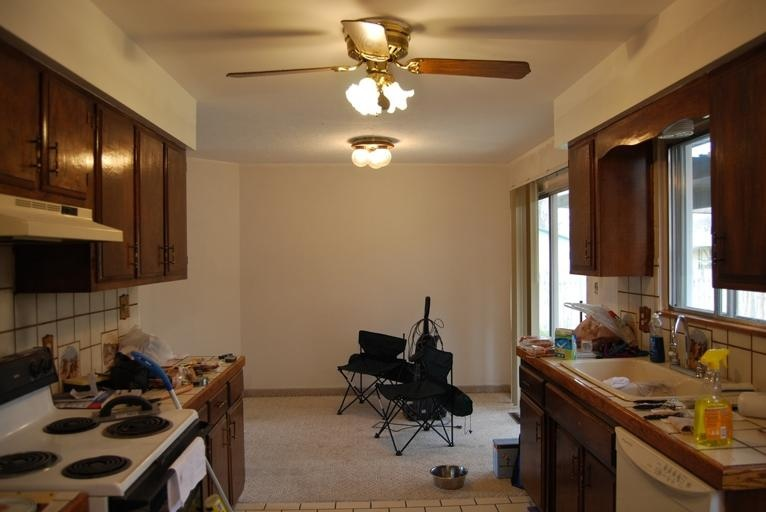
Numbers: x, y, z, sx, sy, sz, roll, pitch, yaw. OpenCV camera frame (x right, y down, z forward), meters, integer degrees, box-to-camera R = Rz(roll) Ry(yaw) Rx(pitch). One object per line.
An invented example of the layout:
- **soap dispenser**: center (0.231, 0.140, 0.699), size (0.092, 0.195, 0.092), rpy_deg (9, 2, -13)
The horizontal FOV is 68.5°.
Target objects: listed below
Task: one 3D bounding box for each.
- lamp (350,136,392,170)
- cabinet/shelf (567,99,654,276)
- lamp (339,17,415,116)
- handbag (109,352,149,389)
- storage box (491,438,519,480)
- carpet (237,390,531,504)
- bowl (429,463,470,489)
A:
- **lamp**: center (-0.105, -0.951, 5.383), size (0.400, 0.221, 0.408), rpy_deg (1, -8, 8)
- **cabinet/shelf**: center (1.641, -0.392, 4.034), size (0.425, 1.059, 0.632), rpy_deg (-3, 7, -17)
- **lamp**: center (-0.038, -1.098, 3.239), size (0.530, 0.161, 0.470), rpy_deg (7, -11, -39)
- **handbag**: center (-1.587, 0.715, 3.524), size (0.226, 0.247, 0.243), rpy_deg (0, -1, -6)
- **storage box**: center (0.963, 1.615, 4.566), size (0.307, 0.316, 0.235), rpy_deg (0, -5, -3)
- **carpet**: center (-0.083, 1.705, 5.028), size (2.533, 0.048, 1.828), rpy_deg (-1, 7, -1)
- **bowl**: center (0.516, 1.719, 4.409), size (0.291, 0.126, 0.213), rpy_deg (0, 7, 5)
